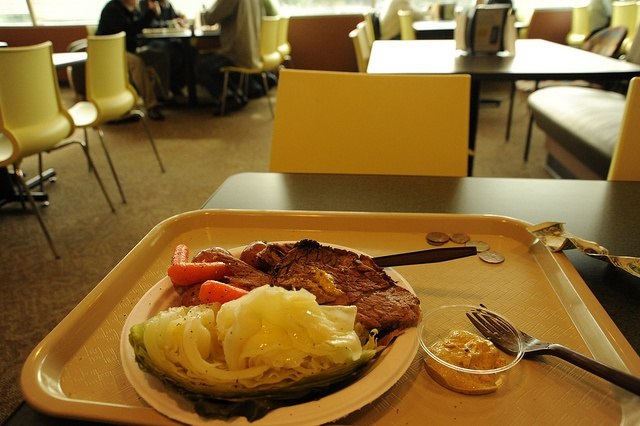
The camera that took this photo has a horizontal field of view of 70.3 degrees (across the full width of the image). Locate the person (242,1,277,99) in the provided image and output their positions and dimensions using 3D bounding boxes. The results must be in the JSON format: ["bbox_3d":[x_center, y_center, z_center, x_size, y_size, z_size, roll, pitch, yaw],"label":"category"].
[{"bbox_3d":[-0.687,-1.908,5.281,0.363,1.028,0.344,-2,24,-3],"label":"person"}]

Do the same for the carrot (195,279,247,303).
[{"bbox_3d":[-0.170,0.135,0.766,0.075,0.026,0.035,5,34,-5],"label":"carrot"}]

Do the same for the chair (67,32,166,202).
[{"bbox_3d":[-1.486,-0.624,3.068,0.553,1.137,0.531,7,25,16],"label":"chair"}]

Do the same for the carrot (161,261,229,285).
[{"bbox_3d":[-0.229,0.101,0.814,0.092,0.031,0.043,-2,14,-6],"label":"carrot"}]

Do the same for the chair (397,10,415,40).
[{"bbox_3d":[0.749,-1.635,3.915,0.152,0.216,0.372,4,28,8],"label":"chair"}]

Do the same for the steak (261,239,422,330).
[{"bbox_3d":[-0.011,0.107,0.815,0.227,0.028,0.123,2,73,9],"label":"steak"}]
